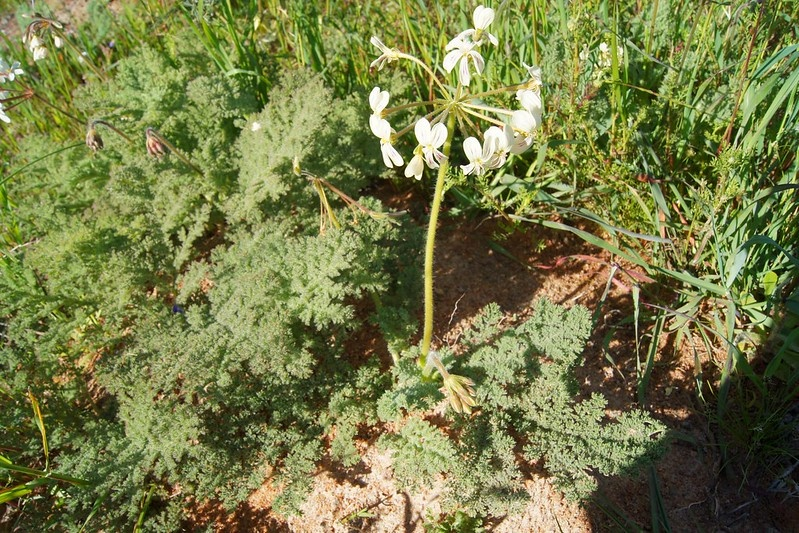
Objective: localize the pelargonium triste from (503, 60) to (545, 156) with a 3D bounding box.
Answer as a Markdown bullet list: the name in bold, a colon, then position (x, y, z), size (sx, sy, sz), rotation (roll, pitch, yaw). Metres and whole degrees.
- **pelargonium triste**: position (0.772, -0.961, 4.102), size (0.214, 0.517, 0.519), rotation (-1, 45, 15)

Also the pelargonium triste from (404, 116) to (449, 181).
- **pelargonium triste**: position (0.204, -0.754, 4.027), size (0.257, 0.304, 0.154), rotation (4, 81, 32)
